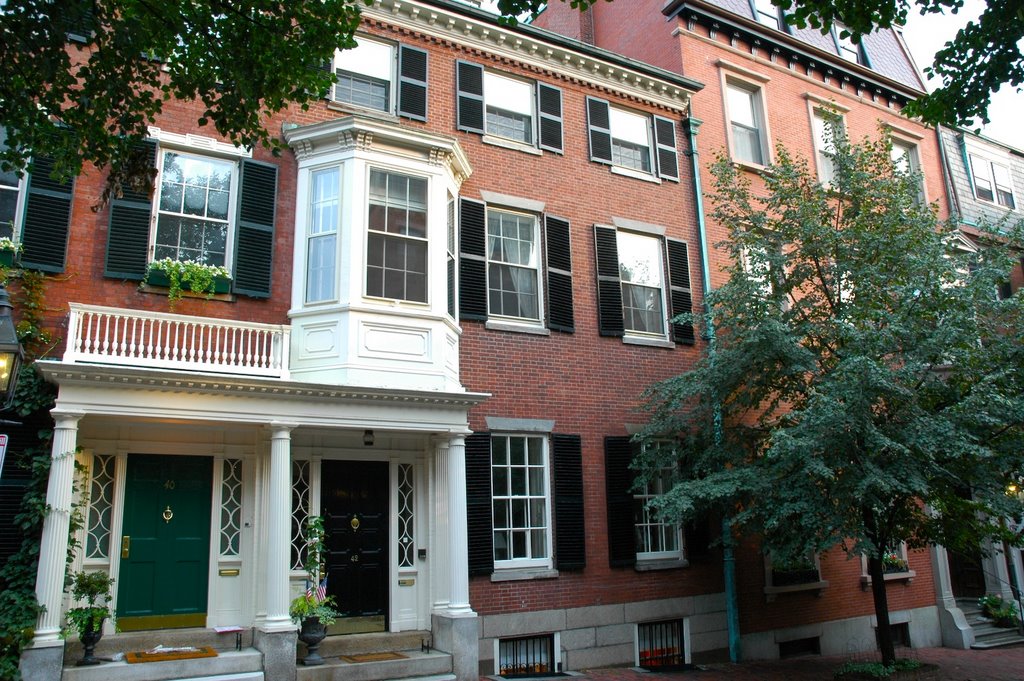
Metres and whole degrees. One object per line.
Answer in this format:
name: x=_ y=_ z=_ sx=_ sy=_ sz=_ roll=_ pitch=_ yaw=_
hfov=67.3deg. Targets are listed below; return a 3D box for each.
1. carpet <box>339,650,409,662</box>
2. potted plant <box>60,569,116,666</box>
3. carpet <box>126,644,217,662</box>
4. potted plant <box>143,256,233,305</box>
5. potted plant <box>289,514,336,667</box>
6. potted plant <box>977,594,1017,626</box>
carpet: x=-2.583 y=5.867 z=14.348 sx=1.061 sy=0.146 sz=0.783 roll=2 pitch=-19 yaw=-14
potted plant: x=-7.320 y=4.726 z=13.252 sx=0.740 sy=1.557 sz=1.086 roll=7 pitch=-21 yaw=-28
carpet: x=-5.943 y=5.414 z=13.376 sx=1.462 sy=0.224 sz=0.900 roll=5 pitch=-20 yaw=-24
potted plant: x=-6.244 y=-1.205 z=14.821 sx=1.568 sy=0.869 sz=0.334 roll=2 pitch=-19 yaw=-14
potted plant: x=-3.774 y=4.641 z=14.560 sx=0.780 sy=2.696 sz=1.138 roll=1 pitch=-19 yaw=-13
potted plant: x=13.476 y=7.414 z=21.217 sx=0.922 sy=0.840 sz=0.575 roll=-10 pitch=-19 yaw=19
